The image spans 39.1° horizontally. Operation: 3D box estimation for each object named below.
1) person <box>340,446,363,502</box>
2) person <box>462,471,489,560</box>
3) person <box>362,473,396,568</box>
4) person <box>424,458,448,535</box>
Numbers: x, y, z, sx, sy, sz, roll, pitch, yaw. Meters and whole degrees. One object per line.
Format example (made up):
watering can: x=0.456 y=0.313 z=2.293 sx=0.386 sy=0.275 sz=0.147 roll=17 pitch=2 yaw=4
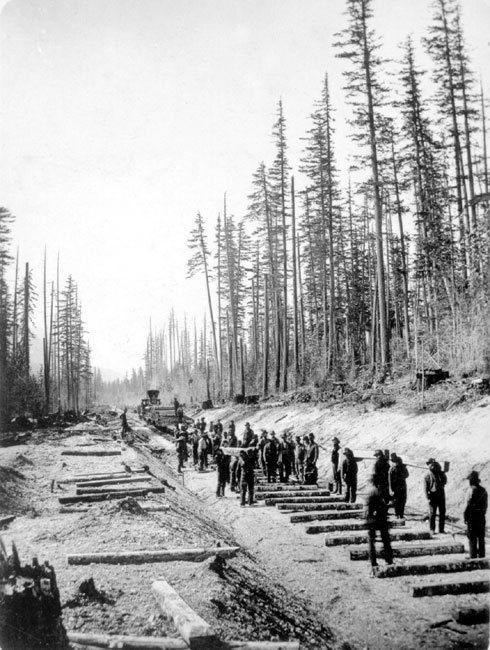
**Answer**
person: x=2.647 y=3.864 z=17.625 sx=0.377 sy=1.434 sz=0.842 roll=-3 pitch=-4 yaw=8
person: x=4.223 y=3.492 z=12.663 sx=0.399 sy=1.651 sz=0.843 roll=-4 pitch=-4 yaw=19
person: x=2.443 y=3.617 z=12.710 sx=0.467 sy=1.696 sz=0.882 roll=-3 pitch=-4 yaw=12
person: x=4.018 y=3.634 z=14.550 sx=0.379 sy=1.575 sz=0.522 roll=-2 pitch=-4 yaw=-2
